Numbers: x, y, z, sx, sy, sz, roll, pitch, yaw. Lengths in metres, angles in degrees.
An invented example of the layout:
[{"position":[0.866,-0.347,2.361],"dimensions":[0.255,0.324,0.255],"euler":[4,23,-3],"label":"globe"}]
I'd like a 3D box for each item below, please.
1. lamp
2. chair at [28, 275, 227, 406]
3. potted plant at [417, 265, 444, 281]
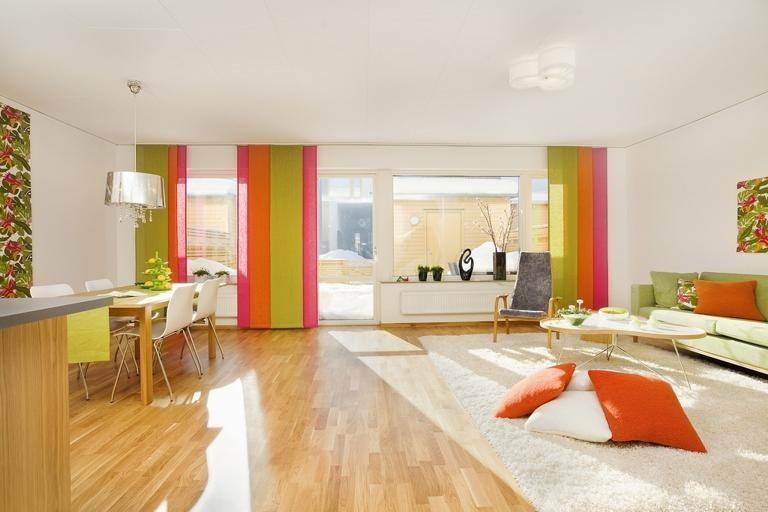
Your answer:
[{"position":[-3.279,-1.227,6.474],"dimensions":[0.761,1.731,2.665],"euler":[-4,7,-27],"label":"lamp"},{"position":[-2.718,0.854,5.190],"dimensions":[1.272,1.064,1.812],"euler":[1,6,11],"label":"chair"},{"position":[0.761,0.271,7.738],"dimensions":[0.411,0.228,0.219],"euler":[0,6,3],"label":"potted plant"}]
